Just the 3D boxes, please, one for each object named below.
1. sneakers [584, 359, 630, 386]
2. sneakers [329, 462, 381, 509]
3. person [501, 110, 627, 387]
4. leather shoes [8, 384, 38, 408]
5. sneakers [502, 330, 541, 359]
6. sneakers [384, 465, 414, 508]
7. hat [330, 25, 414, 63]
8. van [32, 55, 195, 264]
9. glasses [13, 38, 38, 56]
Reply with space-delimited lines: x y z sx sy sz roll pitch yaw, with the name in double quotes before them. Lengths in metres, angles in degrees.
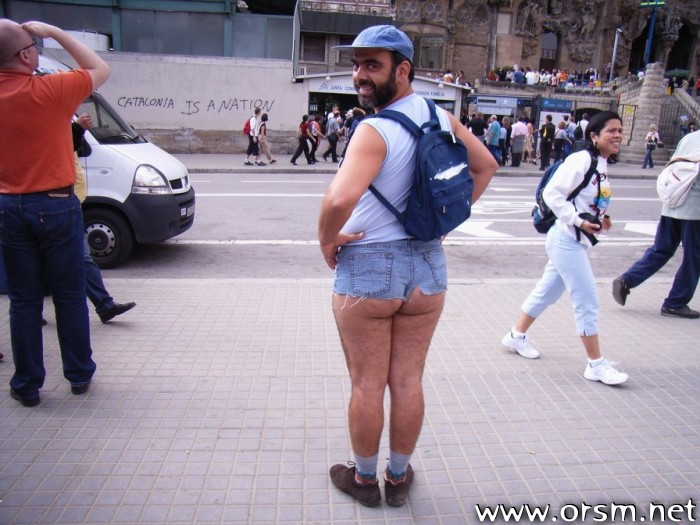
"sneakers" 2.116 0.893 5.303 0.367 0.179 0.179 1 9 34
"sneakers" 0.018 1.319 3.845 0.143 0.151 0.375 11 3 -33
"person" 1.880 -0.132 5.379 0.957 2.160 0.907 5 19 15
"leather shoes" -2.378 0.960 4.622 0.242 0.114 0.099 16 11 14
"sneakers" 1.544 0.753 5.785 0.265 0.135 0.096 25 48 29
"sneakers" 0.280 1.336 3.783 0.095 0.107 0.266 0 9 5
"hat" 0.162 -1.104 3.350 0.279 0.141 0.210 0 29 -20
"van" -3.575 -1.476 9.959 4.186 2.530 2.090 13 10 41
"glasses" -2.160 -1.439 4.217 0.178 0.055 0.181 -26 35 -2
